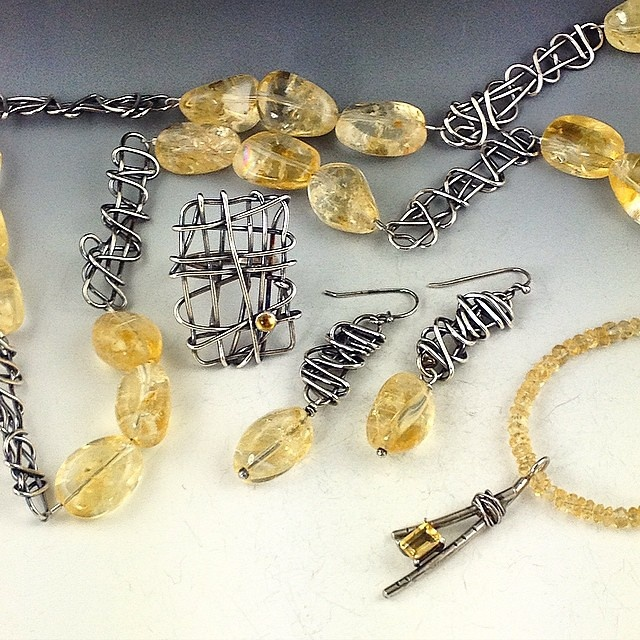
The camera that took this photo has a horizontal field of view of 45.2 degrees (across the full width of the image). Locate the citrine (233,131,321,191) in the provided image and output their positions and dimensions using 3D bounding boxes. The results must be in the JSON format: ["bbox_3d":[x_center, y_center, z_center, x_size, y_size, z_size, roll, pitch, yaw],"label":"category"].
[{"bbox_3d":[-0.056,-0.324,1.643,0.233,0.134,0.072,16,51,31],"label":"citrine"}]

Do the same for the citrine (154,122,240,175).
[{"bbox_3d":[-0.269,-0.374,1.675,0.176,0.114,0.077,3,55,-10],"label":"citrine"}]
